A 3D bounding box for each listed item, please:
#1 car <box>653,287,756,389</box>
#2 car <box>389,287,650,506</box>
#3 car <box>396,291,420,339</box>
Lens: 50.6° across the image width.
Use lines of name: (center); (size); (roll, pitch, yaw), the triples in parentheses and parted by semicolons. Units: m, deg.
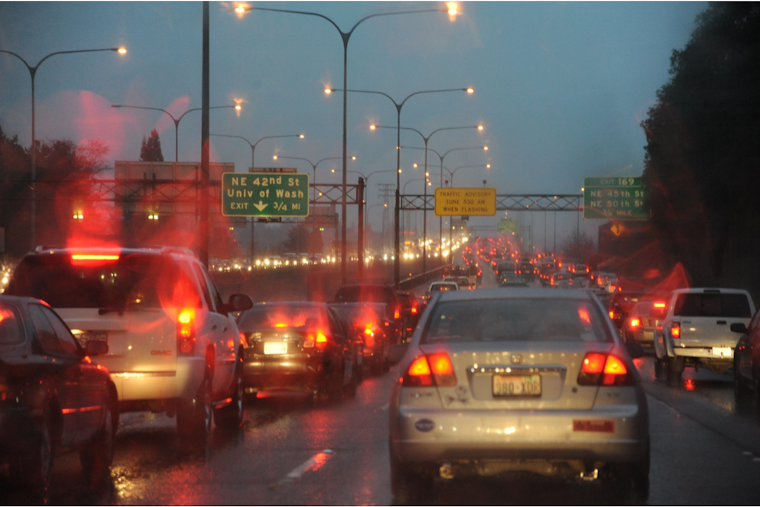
car: (7.573, 1.763, 19.651); (1.411, 1.471, 2.806); (0, 2, 2)
car: (1.427, 1.552, 8.506); (2.617, 2.220, 1.012); (0, 1, 0)
car: (1.316, 2.509, 38.040); (1.076, 1.115, 2.757); (6, 7, 5)
